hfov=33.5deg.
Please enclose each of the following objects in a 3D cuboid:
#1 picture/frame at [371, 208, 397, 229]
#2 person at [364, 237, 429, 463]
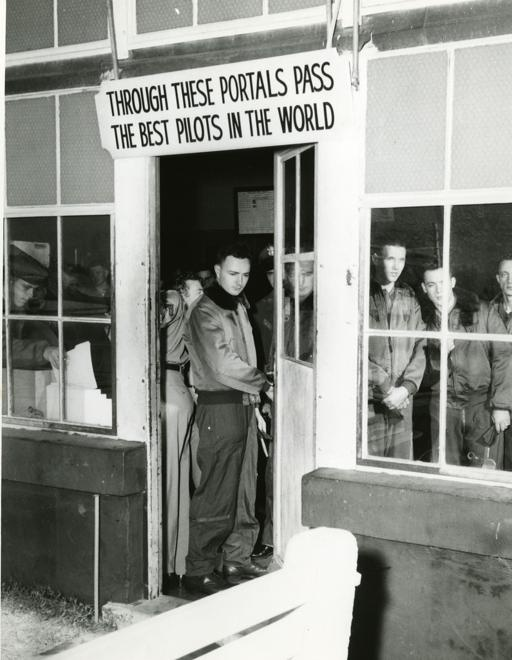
[{"bbox_3d":[0.463,-0.413,3.134,0.056,0.076,0.017,3,4,29],"label":"picture/frame"},{"bbox_3d":[0.490,0.159,3.218,0.259,1.030,0.265,-1,24,8],"label":"person"}]
